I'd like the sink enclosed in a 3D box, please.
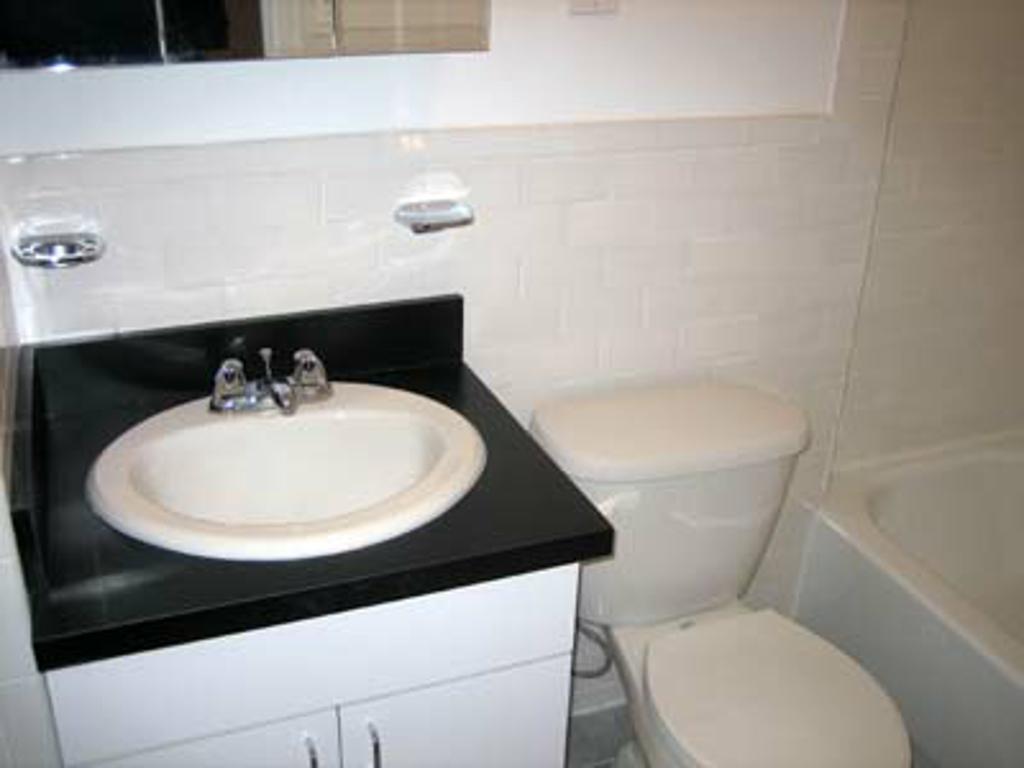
[{"bbox_3d":[-0.323,0.160,1.226,0.557,0.159,0.400,-1,24,-3],"label":"sink"}]
